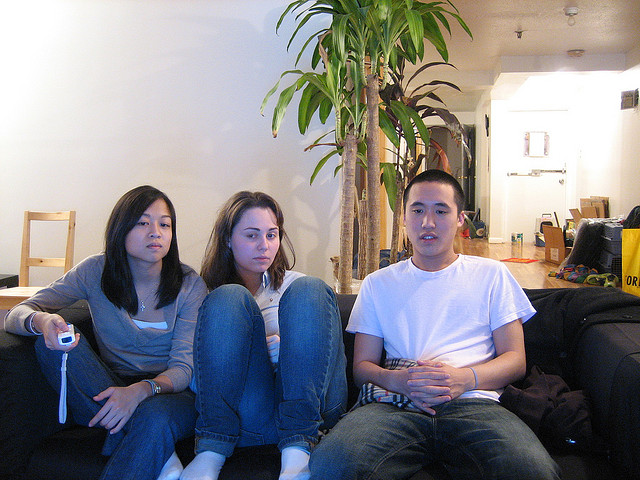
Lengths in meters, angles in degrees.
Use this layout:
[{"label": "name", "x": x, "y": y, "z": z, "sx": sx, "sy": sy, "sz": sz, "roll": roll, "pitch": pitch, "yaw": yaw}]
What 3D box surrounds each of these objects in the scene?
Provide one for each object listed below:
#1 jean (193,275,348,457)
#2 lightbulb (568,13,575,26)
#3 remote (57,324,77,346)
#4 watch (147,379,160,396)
[{"label": "jean", "x": -0.207, "y": 0.578, "z": 2.010, "sx": 0.520, "sy": 0.726, "sz": 0.671, "roll": 0, "pitch": 24, "yaw": -1}, {"label": "lightbulb", "x": 2.971, "y": -2.611, "z": 5.697, "sx": 0.105, "sy": 0.152, "sz": 0.046, "roll": -4, "pitch": -5, "yaw": 26}, {"label": "remote", "x": -0.965, "y": 0.365, "z": 1.836, "sx": 0.064, "sy": 0.069, "sz": 0.051, "roll": -1, "pitch": 3, "yaw": -31}, {"label": "watch", "x": -0.664, "y": 0.589, "z": 1.909, "sx": 0.034, "sy": 0.048, "sz": 0.017, "roll": -3, "pitch": 5, "yaw": 29}]
